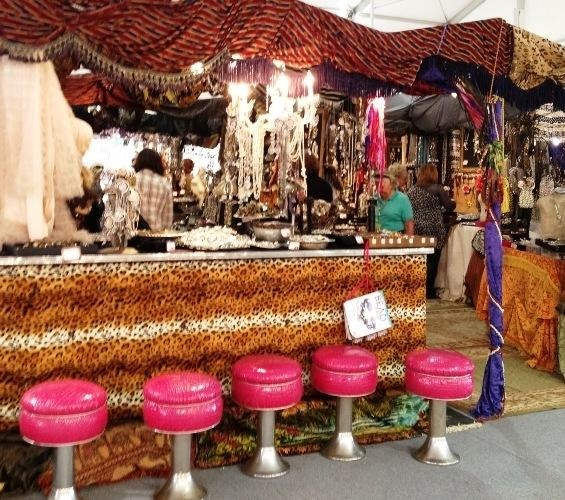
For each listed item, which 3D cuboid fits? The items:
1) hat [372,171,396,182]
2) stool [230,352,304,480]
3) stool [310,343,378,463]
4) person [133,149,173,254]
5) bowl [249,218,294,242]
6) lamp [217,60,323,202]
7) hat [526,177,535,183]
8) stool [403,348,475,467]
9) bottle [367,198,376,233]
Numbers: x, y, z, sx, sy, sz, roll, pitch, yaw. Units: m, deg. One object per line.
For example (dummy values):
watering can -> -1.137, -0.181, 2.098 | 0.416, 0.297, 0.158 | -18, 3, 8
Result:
hat -> 0.913, -0.665, 5.068 | 0.159, 0.115, 0.136 | 4, -3, -19
stool -> -0.129, 0.992, 3.496 | 0.472, 0.928, 0.547 | 1, -3, -13
stool -> 0.368, 0.954, 3.690 | 0.473, 0.922, 0.543 | 0, 1, -15
person -> -1.071, -0.482, 4.610 | 0.346, 0.682, 2.003 | -4, 11, -13
bowl -> -0.071, -0.137, 3.937 | 0.169, 0.128, 0.198 | 1, 3, 9
lamp -> -0.115, -0.908, 4.263 | 0.741, 1.502, 0.824 | 2, 3, 9
hat -> 2.877, -0.816, 6.494 | 0.029, 0.062, 0.089 | -7, 11, -29
stool -> 0.944, 0.985, 3.721 | 0.456, 0.934, 0.547 | 0, 2, -8
bottle -> 0.708, -0.282, 4.445 | 0.064, 0.244, 0.257 | -1, 10, 8
